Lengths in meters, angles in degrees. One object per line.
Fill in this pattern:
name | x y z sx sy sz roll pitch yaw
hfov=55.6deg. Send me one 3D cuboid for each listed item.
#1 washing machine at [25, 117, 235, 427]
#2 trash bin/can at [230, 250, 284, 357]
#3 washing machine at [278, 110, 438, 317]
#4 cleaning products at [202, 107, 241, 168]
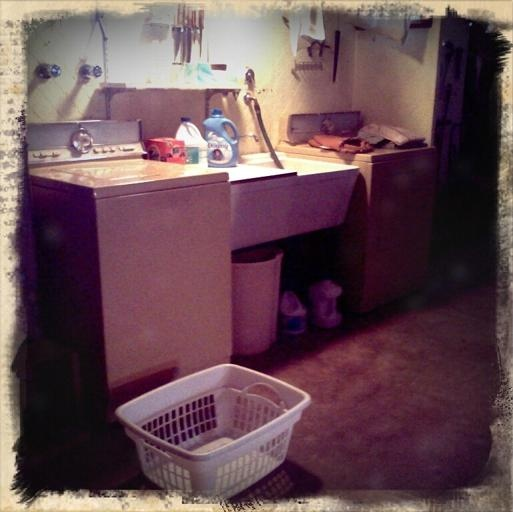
washing machine | -0.564 0.004 2.066 0.641 1.212 0.740 10 15 37
trash bin/can | -0.007 0.240 2.437 0.271 0.469 0.372 16 25 36
washing machine | 0.724 -0.244 3.288 0.888 0.954 0.919 -1 18 3
cleaning products | -0.174 -0.555 2.471 0.200 0.307 0.169 -2 -7 26
